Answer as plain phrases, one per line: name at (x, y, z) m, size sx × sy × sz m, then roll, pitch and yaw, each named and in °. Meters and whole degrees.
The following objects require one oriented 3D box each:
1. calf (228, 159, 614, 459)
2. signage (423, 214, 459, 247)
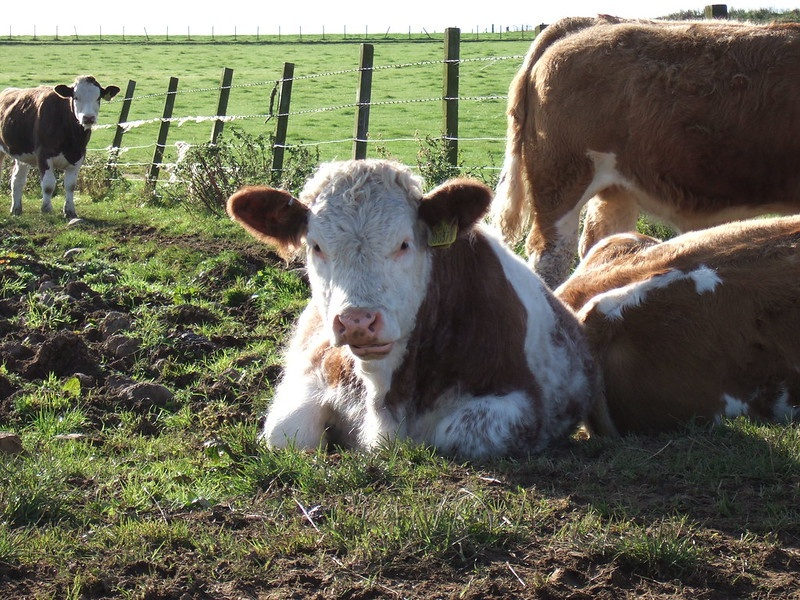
calf at (0.286, 0.125, 6.704) m, size 1.451 × 1.538 × 2.370 m, roll -4°, pitch -6°, yaw 25°
signage at (0.285, -0.428, 6.123) m, size 0.184 × 0.191 × 0.136 m, roll 7°, pitch 6°, yaw 23°
